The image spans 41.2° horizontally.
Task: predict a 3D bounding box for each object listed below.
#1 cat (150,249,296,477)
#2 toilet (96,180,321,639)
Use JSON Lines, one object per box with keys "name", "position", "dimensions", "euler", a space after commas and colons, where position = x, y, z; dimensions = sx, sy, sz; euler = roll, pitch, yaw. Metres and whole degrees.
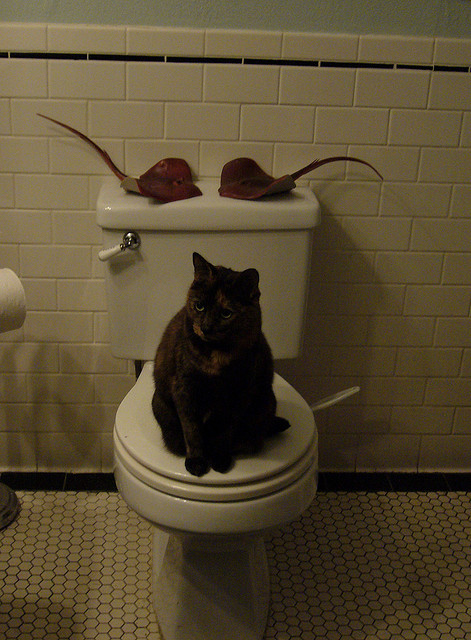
{"name": "cat", "position": [-0.039, 0.062, 0.977], "dimensions": [0.260, 0.309, 0.243], "euler": [10, 26, 14]}
{"name": "toilet", "position": [-0.027, 0.184, 1.227], "dimensions": [0.444, 0.791, 0.662], "euler": [-2, 25, -12]}
